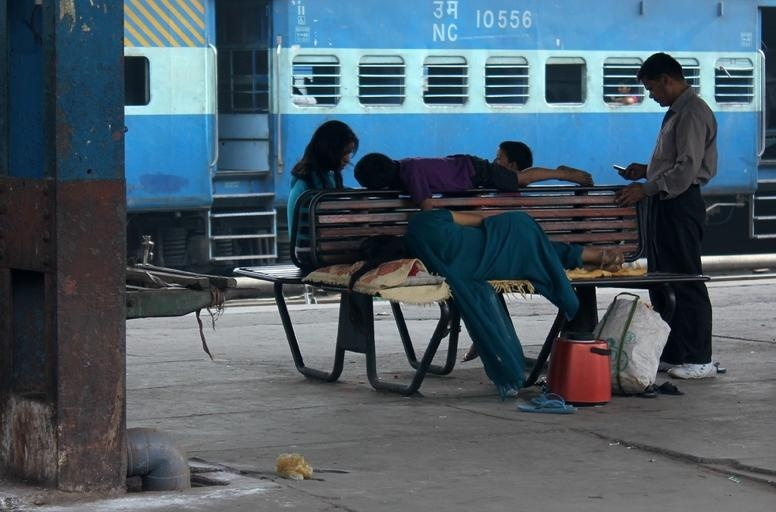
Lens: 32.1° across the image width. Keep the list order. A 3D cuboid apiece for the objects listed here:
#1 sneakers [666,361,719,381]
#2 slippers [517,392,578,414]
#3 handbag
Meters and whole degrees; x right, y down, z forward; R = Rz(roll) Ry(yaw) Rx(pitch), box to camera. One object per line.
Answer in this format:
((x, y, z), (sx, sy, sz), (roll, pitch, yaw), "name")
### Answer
((2.336, 0.860, 10.157), (0.342, 0.145, 0.135), (3, 1, -12), "sneakers")
((1.102, 1.021, 9.309), (0.299, 0.084, 0.165), (3, 1, 13), "slippers")
((1.785, 0.649, 9.717), (0.435, 0.755, 0.644), (22, -13, -41), "handbag")
